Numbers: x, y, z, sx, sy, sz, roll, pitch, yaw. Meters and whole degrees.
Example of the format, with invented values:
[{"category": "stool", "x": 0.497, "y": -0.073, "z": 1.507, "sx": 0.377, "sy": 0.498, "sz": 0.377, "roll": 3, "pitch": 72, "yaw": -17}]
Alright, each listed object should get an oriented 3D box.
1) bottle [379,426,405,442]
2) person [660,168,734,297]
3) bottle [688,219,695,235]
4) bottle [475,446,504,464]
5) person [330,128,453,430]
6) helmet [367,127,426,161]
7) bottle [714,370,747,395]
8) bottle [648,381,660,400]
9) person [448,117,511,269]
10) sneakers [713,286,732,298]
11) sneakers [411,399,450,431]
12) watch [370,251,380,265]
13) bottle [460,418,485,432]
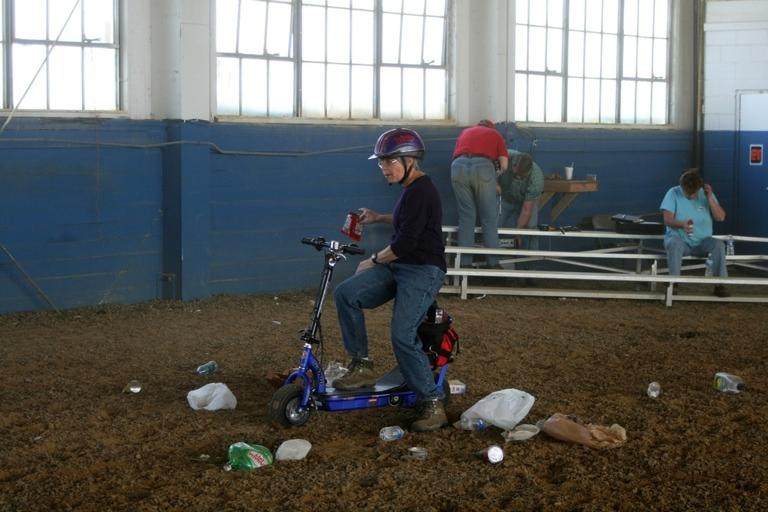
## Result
[{"category": "bottle", "x": 0.064, "y": 1.400, "z": 5.041, "sx": 0.213, "sy": 0.126, "sz": 0.121, "roll": 3, "pitch": 34, "yaw": -20}, {"category": "person", "x": 4.264, "y": -0.417, "z": 8.717, "sx": 0.867, "sy": 1.413, "sz": 0.685, "roll": -1, "pitch": 10, "yaw": 2}, {"category": "bottle", "x": 4.152, "y": -0.390, "z": 8.636, "sx": 0.108, "sy": 0.174, "sz": 0.052, "roll": 1, "pitch": -2, "yaw": -12}, {"category": "bottle", "x": 0.809, "y": 1.488, "z": 4.808, "sx": 0.167, "sy": 0.079, "sz": 0.099, "roll": -12, "pitch": 27, "yaw": -31}, {"category": "person", "x": 0.064, "y": 0.178, "z": 5.246, "sx": 0.906, "sy": 2.365, "sz": 0.664, "roll": 0, "pitch": 10, "yaw": 5}, {"category": "helmet", "x": 0.111, "y": -0.882, "z": 5.195, "sx": 0.417, "sy": 0.214, "sz": 0.288, "roll": -1, "pitch": 4, "yaw": -23}, {"category": "bottle", "x": 3.123, "y": 1.151, "z": 5.756, "sx": 0.136, "sy": 0.135, "sz": 0.218, "roll": 2, "pitch": 5, "yaw": -43}, {"category": "bottle", "x": 2.419, "y": 1.209, "z": 5.742, "sx": 0.103, "sy": 0.130, "sz": 0.060, "roll": 5, "pitch": 2, "yaw": -30}, {"category": "person", "x": 1.326, "y": -0.931, "z": 8.884, "sx": 0.738, "sy": 1.644, "sz": 0.354, "roll": 0, "pitch": 10, "yaw": 7}, {"category": "sneakers", "x": 4.701, "y": 0.503, "z": 8.879, "sx": 0.136, "sy": 0.145, "sz": 0.406, "roll": -2, "pitch": -4, "yaw": 23}, {"category": "sneakers", "x": 0.382, "y": 1.290, "z": 5.218, "sx": 0.353, "sy": 0.247, "sz": 0.166, "roll": -1, "pitch": 1, "yaw": -22}, {"category": "watch", "x": -0.086, "y": 0.023, "z": 5.175, "sx": 0.061, "sy": 0.082, "sz": 0.092, "roll": 4, "pitch": 27, "yaw": 16}, {"category": "bottle", "x": 0.721, "y": 1.366, "z": 5.169, "sx": 0.108, "sy": 0.068, "sz": 0.147, "roll": 13, "pitch": -19, "yaw": -41}]
